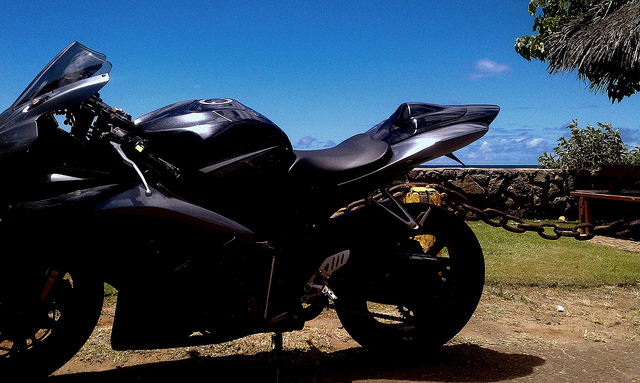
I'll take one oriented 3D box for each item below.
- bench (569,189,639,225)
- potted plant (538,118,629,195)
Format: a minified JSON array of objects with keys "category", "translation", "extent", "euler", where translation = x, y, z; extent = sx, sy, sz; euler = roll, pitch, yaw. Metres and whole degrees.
[{"category":"bench","translation":[5.970,0.238,8.323],"extent":[1.337,0.720,1.286],"euler":[-4,4,-39]},{"category":"potted plant","translation":[6.506,-0.680,9.490],"extent":[2.175,1.617,1.881],"euler":[3,18,17]}]
